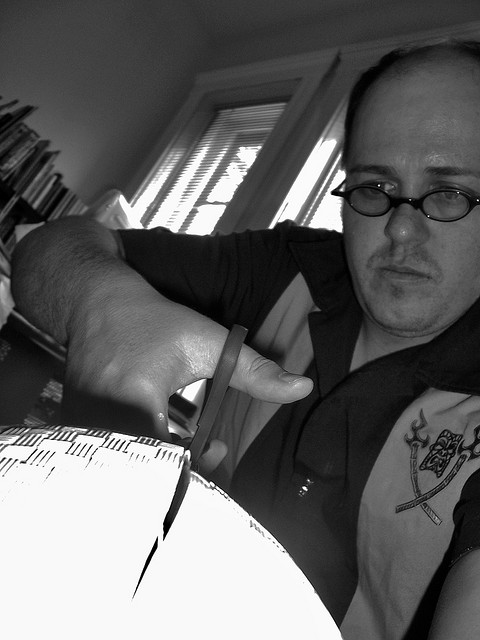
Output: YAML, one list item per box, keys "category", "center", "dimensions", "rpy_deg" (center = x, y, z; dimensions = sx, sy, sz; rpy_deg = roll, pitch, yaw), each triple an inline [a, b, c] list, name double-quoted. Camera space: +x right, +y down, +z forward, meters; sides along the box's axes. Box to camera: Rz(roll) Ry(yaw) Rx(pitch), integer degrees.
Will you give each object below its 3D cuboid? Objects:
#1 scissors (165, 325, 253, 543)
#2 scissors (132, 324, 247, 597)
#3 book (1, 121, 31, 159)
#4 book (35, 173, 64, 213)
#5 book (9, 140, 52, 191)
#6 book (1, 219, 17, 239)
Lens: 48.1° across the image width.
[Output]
- category: "scissors"
  center: [-0.011, 0.054, 0.297]
  dimensions: [0.016, 0.132, 0.020]
  rpy_deg: [22, -28, 5]
- category: "scissors"
  center: [-0.026, 0.067, 0.280]
  dimensions: [0.019, 0.142, 0.016]
  rpy_deg: [26, -13, 24]
- category: "book"
  center: [-0.712, -0.566, 1.694]
  dimensions: [0.050, 0.207, 0.036]
  rpy_deg: [37, -53, -9]
- category: "book"
  center: [-0.678, -0.441, 1.932]
  dimensions: [0.033, 0.127, 0.130]
  rpy_deg: [34, -52, -22]
- category: "book"
  center: [-0.704, -0.517, 1.791]
  dimensions: [0.044, 0.164, 0.176]
  rpy_deg: [36, 12, -7]
- category: "book"
  center: [-0.718, -0.277, 1.663]
  dimensions: [0.013, 0.054, 0.050]
  rpy_deg: [42, -53, -5]
